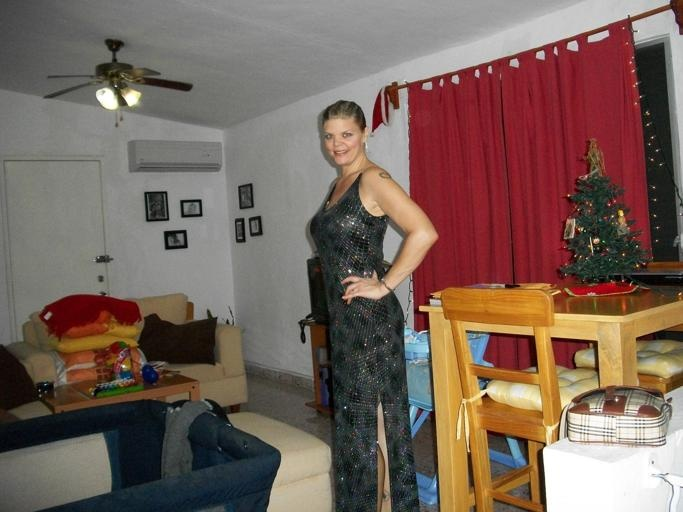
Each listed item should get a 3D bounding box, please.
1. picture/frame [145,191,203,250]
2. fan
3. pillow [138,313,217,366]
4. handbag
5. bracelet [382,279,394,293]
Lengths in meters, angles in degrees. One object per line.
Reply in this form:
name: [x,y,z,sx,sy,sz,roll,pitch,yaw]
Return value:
picture/frame: [-1.905,-0.412,6.173,0.630,0.678,0.051,-3,0,-32]
fan: [-1.572,-1.368,3.882,0.947,0.344,1.039,-12,29,-41]
pillow: [-1.325,0.697,4.435,0.430,0.135,0.445,-1,34,-19]
handbag: [0.877,0.480,1.708,0.338,0.109,0.347,-8,1,5]
bracelet: [0.185,0.120,2.040,0.013,0.050,0.047,-39,10,-1]
